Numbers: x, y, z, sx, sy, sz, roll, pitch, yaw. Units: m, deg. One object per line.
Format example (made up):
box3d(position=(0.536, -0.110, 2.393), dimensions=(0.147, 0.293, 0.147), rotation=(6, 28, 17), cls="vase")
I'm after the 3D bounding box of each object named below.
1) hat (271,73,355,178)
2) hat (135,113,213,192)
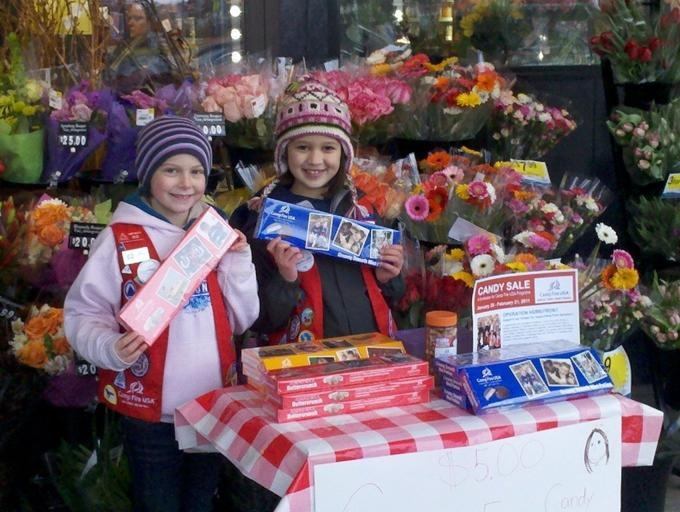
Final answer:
box3d(position=(-0.104, -0.545, 2.193), dimensions=(0.257, 0.345, 0.352), rotation=(0, 3, -2), cls="hat")
box3d(position=(-0.577, -0.364, 1.886), dimensions=(0.200, 0.251, 0.256), rotation=(-5, 20, -24), cls="hat")
